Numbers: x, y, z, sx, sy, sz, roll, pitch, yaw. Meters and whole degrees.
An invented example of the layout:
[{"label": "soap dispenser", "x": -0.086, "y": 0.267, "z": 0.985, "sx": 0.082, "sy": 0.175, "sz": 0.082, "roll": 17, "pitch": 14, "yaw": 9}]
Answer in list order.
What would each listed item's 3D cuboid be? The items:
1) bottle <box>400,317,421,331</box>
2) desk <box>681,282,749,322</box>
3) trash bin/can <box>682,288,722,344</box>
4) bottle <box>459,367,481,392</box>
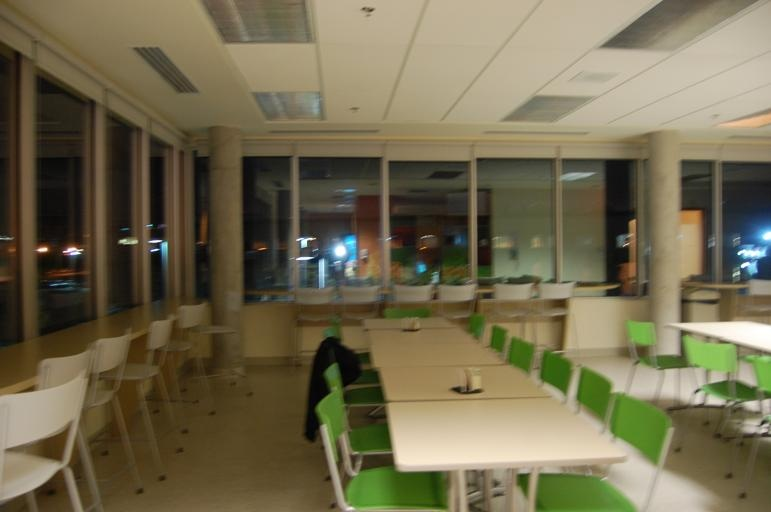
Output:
[{"label": "bottle", "x": 0.299, "y": 0.788, "z": 6.141, "sx": 0.211, "sy": 0.125, "sz": 0.140, "roll": 0, "pitch": -3, "yaw": -8}, {"label": "desk", "x": 5.429, "y": 0.686, "z": 8.954, "sx": 0.865, "sy": 0.755, "sz": 0.829, "roll": 0, "pitch": 2, "yaw": 11}, {"label": "trash bin/can", "x": 5.132, "y": 0.892, "z": 8.714, "sx": 0.729, "sy": 0.581, "sz": 0.508, "roll": 0, "pitch": 2, "yaw": 5}, {"label": "bottle", "x": 0.710, "y": 1.031, "z": 4.470, "sx": 0.199, "sy": 0.174, "sz": 0.160, "roll": -1, "pitch": 3, "yaw": -8}]
